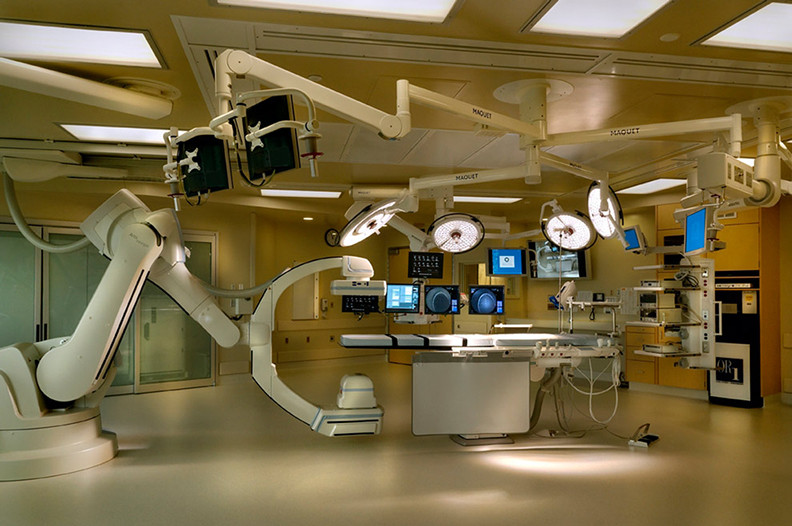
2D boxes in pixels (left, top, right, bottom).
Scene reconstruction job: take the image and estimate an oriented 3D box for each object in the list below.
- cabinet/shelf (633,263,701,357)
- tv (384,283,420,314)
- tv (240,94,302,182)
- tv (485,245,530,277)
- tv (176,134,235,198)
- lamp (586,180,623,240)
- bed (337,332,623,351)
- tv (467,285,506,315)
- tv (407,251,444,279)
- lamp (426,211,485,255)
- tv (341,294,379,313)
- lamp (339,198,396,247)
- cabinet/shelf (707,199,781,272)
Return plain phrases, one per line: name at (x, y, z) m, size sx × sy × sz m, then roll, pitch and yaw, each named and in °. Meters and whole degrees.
cabinet/shelf at (3.877, 0.686, 8.394) m, size 0.751 × 1.407 × 1.469 m, roll 1°, pitch -4°, yaw 3°
tv at (0.096, 0.479, 7.911) m, size 0.446 × 0.373 × 0.060 m, roll 1°, pitch -8°, yaw 6°
tv at (-1.026, -1.025, 4.794) m, size 0.504 × 0.661 × 0.159 m, roll 1°, pitch 4°, yaw 15°
tv at (1.621, -0.014, 8.605) m, size 0.632 × 0.434 × 0.088 m, roll 0°, pitch -4°, yaw -1°
tv at (-1.664, -0.829, 5.097) m, size 0.493 × 0.514 × 0.480 m, roll -8°, pitch -1°, yaw -29°
lamp at (2.404, -0.614, 6.807) m, size 0.326 × 0.669 × 0.657 m, roll 0°, pitch 4°, yaw 12°
bed at (0.966, 0.940, 7.144) m, size 3.219 × 0.202 × 0.436 m, roll 0°, pitch 4°, yaw -4°
tv at (1.172, 0.490, 7.790) m, size 0.654 × 0.539 × 0.324 m, roll 1°, pitch -6°, yaw -7°
tv at (0.405, 0.029, 8.088) m, size 0.409 × 0.293 × 0.070 m, roll 1°, pitch -10°, yaw -5°
lamp at (0.814, -0.410, 7.915) m, size 0.720 × 0.527 × 0.408 m, roll 0°, pitch 4°, yaw 1°
tv at (-0.484, 0.534, 8.307) m, size 0.540 × 0.269 × 0.252 m, roll 1°, pitch 12°, yaw -5°
lamp at (-0.364, -0.527, 7.692) m, size 0.628 × 0.559 × 0.767 m, roll -2°, pitch 4°, yaw -21°
cabinet/shelf at (5.487, -0.405, 9.100) m, size 1.145 × 1.034 × 0.521 m, roll -1°, pitch 4°, yaw -14°
